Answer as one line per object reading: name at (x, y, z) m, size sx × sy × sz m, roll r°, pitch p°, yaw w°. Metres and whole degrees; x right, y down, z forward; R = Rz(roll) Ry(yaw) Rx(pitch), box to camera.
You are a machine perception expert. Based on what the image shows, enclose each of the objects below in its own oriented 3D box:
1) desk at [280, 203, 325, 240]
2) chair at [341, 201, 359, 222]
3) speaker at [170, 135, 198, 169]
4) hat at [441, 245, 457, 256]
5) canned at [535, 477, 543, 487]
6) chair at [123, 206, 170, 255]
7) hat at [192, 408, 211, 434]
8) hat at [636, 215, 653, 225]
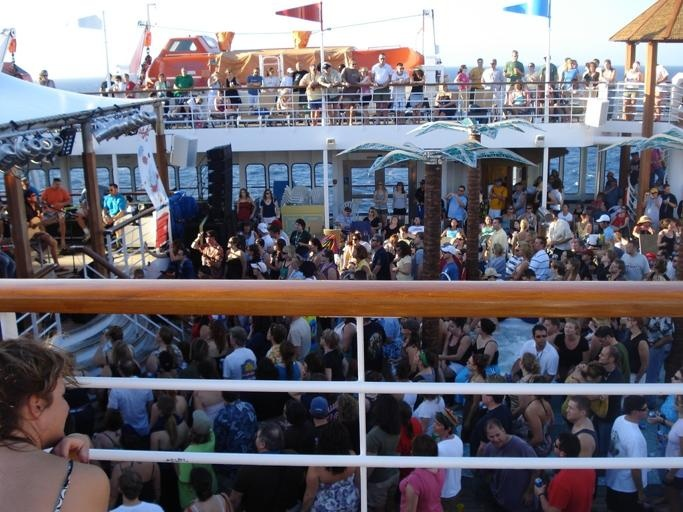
desk at (-1.032, -0.728, 21.820) m, size 1.050 × 1.175 × 0.785 m, roll 0°, pitch 11°, yaw 4°
chair at (0.209, -1.172, 21.685) m, size 0.517 × 0.445 × 0.793 m, roll 0°, pitch 7°, yaw -1°
speaker at (-3.571, -2.392, 18.924) m, size 0.387 × 0.913 × 0.883 m, roll 7°, pitch 16°, yaw 7°
hat at (1.692, -0.067, 13.202) m, size 0.201 × 0.109 × 0.148 m, roll 18°, pitch 5°, yaw -15°
canned at (1.679, 1.932, 7.191) m, size 0.044 × 0.075 × 0.076 m, roll 9°, pitch 40°, yaw 35°
chair at (-3.610, -0.515, 15.816) m, size 0.609 × 0.755 × 1.114 m, roll -24°, pitch 50°, yaw -4°
hat at (-1.327, 1.548, 7.885) m, size 0.166 × 0.266 × 0.136 m, roll 8°, pitch 29°, yaw -9°
hat at (6.245, -0.760, 17.374) m, size 0.325 × 0.127 × 0.325 m, roll -5°, pitch 6°, yaw -32°
